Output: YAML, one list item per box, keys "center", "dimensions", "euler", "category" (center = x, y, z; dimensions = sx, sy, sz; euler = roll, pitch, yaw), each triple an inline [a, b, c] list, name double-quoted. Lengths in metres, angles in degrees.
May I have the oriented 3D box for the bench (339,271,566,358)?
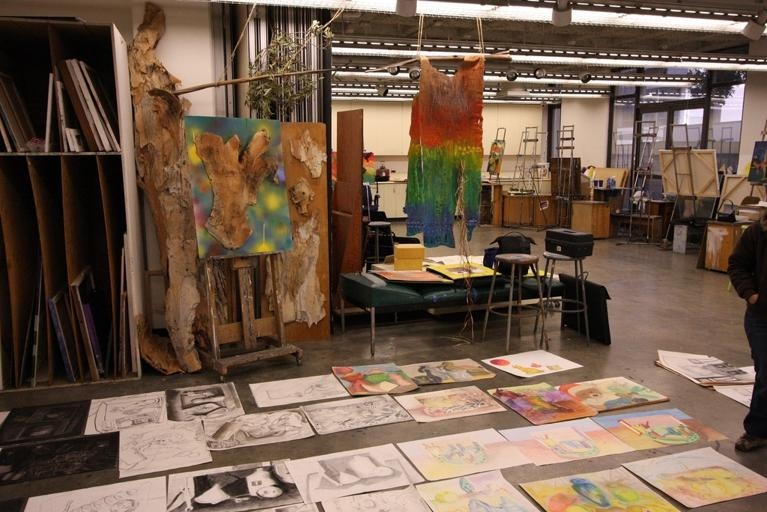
- center: [0.715, 0.573, 6.569]
  dimensions: [2.277, 0.746, 0.995]
  euler: [-5, 14, -19]
  category: "bench"

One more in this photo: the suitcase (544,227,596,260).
- center: [2.154, -0.157, 6.417]
  dimensions: [0.362, 0.289, 0.559]
  euler: [-8, 13, -23]
  category: "suitcase"

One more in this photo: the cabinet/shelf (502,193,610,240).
- center: [4.422, -1.118, 14.976]
  dimensions: [1.741, 0.631, 1.731]
  euler: [-4, 12, -19]
  category: "cabinet/shelf"

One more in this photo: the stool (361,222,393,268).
- center: [-0.092, -0.226, 8.368]
  dimensions: [0.456, 0.696, 1.089]
  euler: [0, 13, 1]
  category: "stool"

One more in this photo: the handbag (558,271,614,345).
- center: [2.357, 0.655, 6.603]
  dimensions: [0.278, 0.690, 0.788]
  euler: [-8, 10, -17]
  category: "handbag"

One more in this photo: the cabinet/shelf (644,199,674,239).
- center: [6.142, -0.829, 12.567]
  dimensions: [0.543, 0.920, 0.407]
  euler: [5, 15, 21]
  category: "cabinet/shelf"
